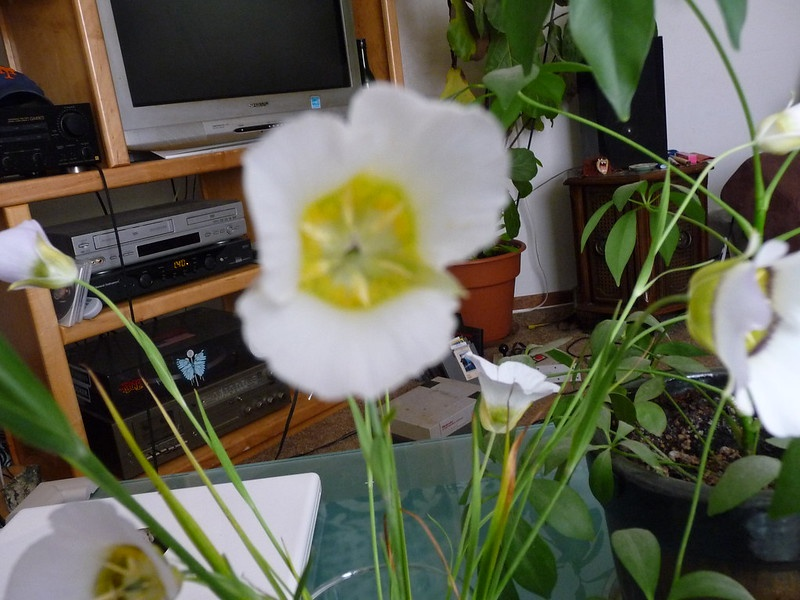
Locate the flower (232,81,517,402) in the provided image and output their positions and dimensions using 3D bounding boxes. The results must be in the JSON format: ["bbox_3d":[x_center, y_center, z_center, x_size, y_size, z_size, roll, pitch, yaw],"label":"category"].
[{"bbox_3d":[-0.008,-0.018,0.154,0.084,0.096,0.027,-5,2,-29],"label":"flower"}]

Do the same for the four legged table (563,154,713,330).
[{"bbox_3d":[1.081,-0.202,2.451,0.541,0.764,0.634,-12,27,-5],"label":"four legged table"}]
